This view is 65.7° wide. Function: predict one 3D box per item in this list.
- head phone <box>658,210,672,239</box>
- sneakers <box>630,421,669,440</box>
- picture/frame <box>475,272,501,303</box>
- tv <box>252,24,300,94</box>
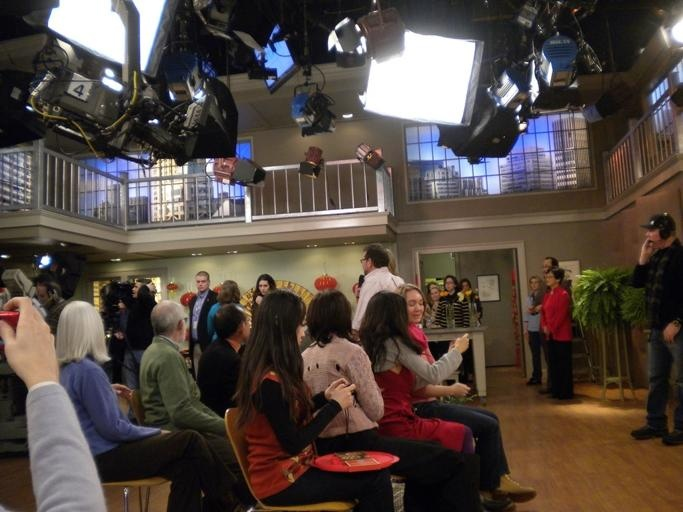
[{"bbox_3d":[3.098,-0.291,5.021,0.099,0.256,0.241,-4,-6,35],"label":"head phone"},{"bbox_3d":[2.997,1.710,5.228,0.363,0.191,0.142,1,-4,5],"label":"sneakers"},{"bbox_3d":[3.583,0.788,12.828,0.649,0.971,0.033,-1,-2,10],"label":"picture/frame"},{"bbox_3d":[-0.745,-2.187,5.967,0.449,0.571,0.342,-5,-6,37],"label":"tv"}]
